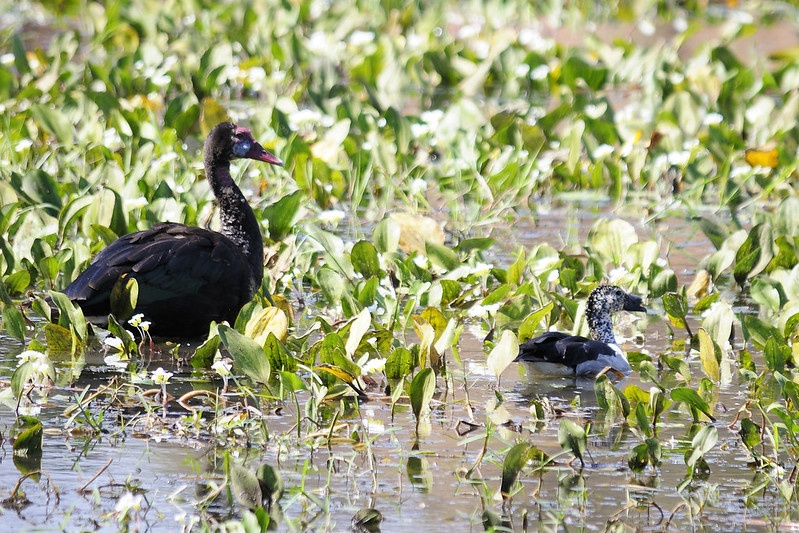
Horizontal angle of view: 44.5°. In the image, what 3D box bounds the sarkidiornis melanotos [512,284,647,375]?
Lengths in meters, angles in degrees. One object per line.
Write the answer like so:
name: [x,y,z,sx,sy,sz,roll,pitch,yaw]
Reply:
sarkidiornis melanotos: [1.038,0.395,5.687,0.886,0.553,0.321,6,-2,-30]
